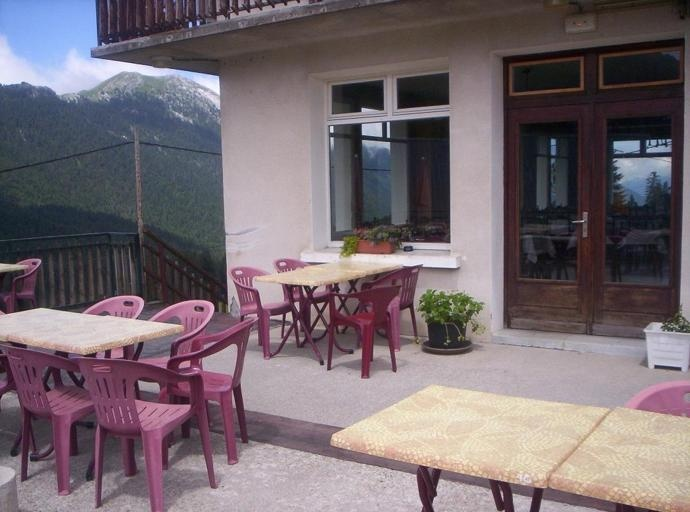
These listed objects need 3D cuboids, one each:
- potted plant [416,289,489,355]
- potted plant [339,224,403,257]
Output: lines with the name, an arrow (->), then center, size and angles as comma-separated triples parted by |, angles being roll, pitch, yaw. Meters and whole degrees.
potted plant -> 1.293, 0.665, 6.741 | 0.696, 0.788, 0.887 | 0, -1, 20
potted plant -> 0.382, -0.213, 7.670 | 0.710, 0.375, 0.626 | 2, 9, 28
